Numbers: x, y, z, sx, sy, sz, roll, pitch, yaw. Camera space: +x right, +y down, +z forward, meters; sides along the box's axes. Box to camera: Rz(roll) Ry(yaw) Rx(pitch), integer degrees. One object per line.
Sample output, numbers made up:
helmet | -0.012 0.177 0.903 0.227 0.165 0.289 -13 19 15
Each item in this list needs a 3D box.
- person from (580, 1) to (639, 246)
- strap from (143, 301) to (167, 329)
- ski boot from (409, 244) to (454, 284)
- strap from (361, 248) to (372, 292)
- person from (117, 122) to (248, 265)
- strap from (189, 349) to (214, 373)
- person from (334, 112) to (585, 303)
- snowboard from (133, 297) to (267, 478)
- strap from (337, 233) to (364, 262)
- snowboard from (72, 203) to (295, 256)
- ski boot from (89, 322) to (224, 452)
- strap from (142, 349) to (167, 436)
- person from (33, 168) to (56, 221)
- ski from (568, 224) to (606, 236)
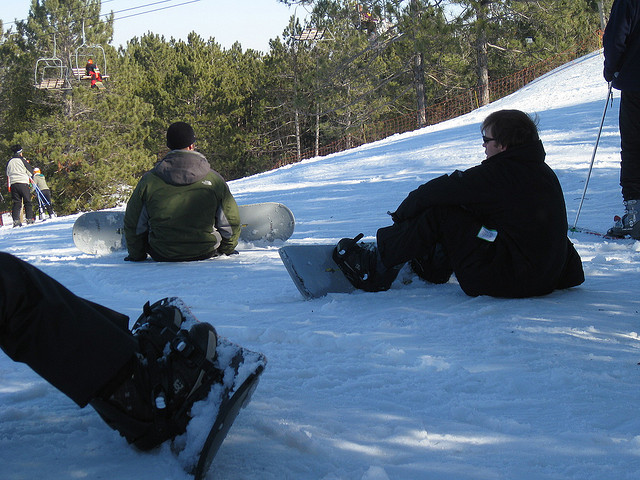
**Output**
person | 2.498 -0.980 5.119 0.360 1.884 1.340 3 11 26
strap | -0.631 0.293 2.340 0.086 0.062 0.117 26 13 -13
ski boot | 0.721 0.152 3.806 0.212 0.302 0.226 -10 13 -35
strap | 0.284 0.186 3.748 0.052 0.188 0.140 -2 -3 -1
person | -1.114 -0.377 5.243 1.117 1.132 0.765 1 7 -8
strap | -0.426 0.434 2.190 0.091 0.052 0.032 40 4 -13
person | 0.839 -0.199 3.884 1.607 1.110 0.987 0 8 19
snowboard | -0.376 0.604 2.200 0.304 0.408 0.272 -11 14 -40
strap | 0.201 0.051 3.954 0.242 0.057 0.066 -44 -18 -7
snowboard | -1.159 -0.086 5.365 1.635 0.388 0.242 -6 18 3
ski boot | -0.570 0.521 2.154 0.167 0.394 0.279 38 -11 31
strap | -0.586 0.548 2.185 0.057 0.304 0.104 -8 12 -28
person | -5.986 -1.000 13.223 0.322 1.099 1.674 -7 11 -24
ski | 2.325 -0.081 5.300 0.025 0.036 0.285 -11 24 -27
